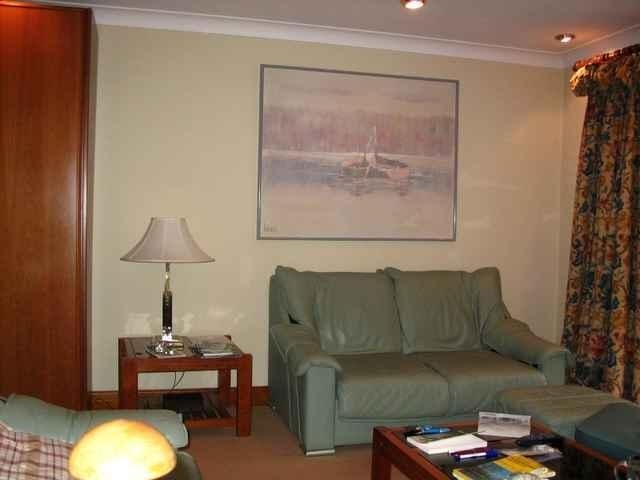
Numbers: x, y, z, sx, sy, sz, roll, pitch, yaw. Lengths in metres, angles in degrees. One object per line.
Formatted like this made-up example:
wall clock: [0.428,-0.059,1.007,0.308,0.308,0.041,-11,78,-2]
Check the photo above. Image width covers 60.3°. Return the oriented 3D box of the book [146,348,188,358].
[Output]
book: [-0.986,0.734,3.550,0.261,0.052,0.176,-2,0,-14]

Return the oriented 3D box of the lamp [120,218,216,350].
lamp: [-1.081,0.286,3.791,0.528,0.881,0.556,-2,1,-32]

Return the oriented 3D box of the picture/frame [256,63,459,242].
picture/frame: [0.231,-0.712,4.415,1.472,1.120,0.064,2,-3,-18]
